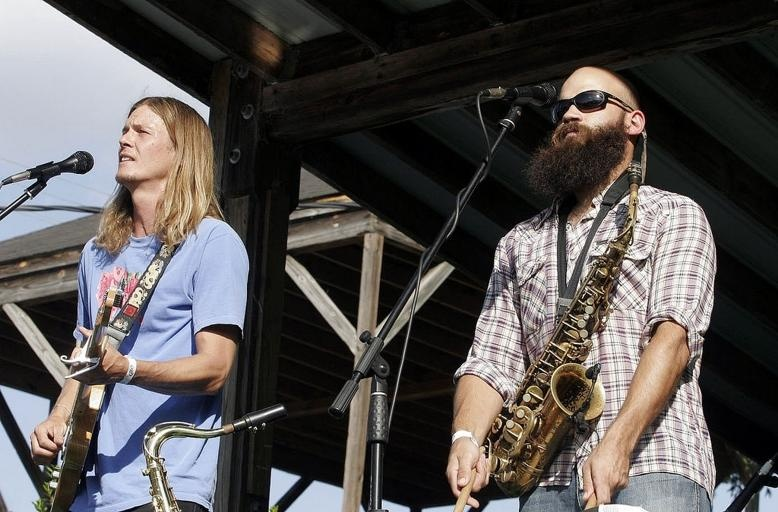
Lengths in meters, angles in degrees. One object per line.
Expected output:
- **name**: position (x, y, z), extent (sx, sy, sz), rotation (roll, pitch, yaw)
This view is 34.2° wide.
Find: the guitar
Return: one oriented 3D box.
- **guitar**: position (-1.711, 0.782, 6.938), extent (0.243, 0.951, 1.158), rotation (15, -38, -8)
